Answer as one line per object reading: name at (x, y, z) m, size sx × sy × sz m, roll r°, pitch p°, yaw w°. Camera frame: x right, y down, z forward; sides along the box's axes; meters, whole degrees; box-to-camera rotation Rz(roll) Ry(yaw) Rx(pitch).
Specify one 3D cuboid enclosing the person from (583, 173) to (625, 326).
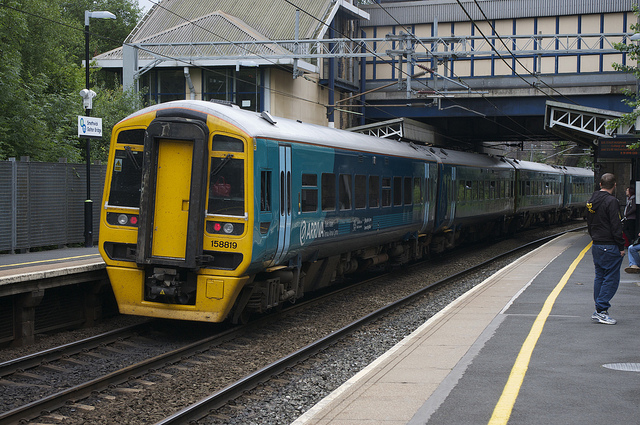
person at (4.960, 0.672, 10.092) m, size 0.587 × 2.082 × 0.776 m, roll -3°, pitch 1°, yaw 24°
